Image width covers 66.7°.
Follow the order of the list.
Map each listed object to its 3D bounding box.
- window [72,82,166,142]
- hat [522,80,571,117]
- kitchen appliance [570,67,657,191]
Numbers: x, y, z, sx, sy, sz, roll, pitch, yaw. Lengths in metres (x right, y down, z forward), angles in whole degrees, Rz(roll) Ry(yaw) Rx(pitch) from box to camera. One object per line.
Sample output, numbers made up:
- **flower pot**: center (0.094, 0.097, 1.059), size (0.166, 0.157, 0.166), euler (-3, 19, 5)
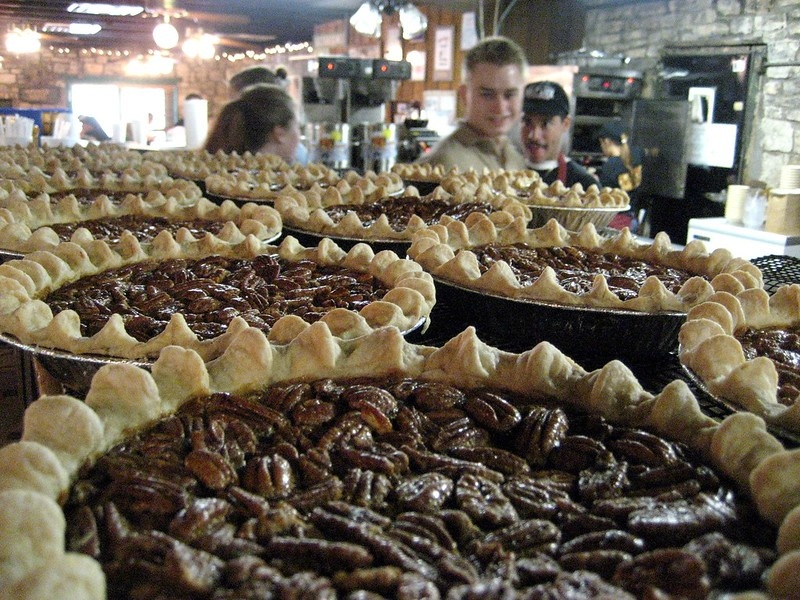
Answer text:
- **window**: center (-9.190, -5.866, 20.199), size (3.080, 0.917, 3.205), euler (9, 8, -24)
- **hat**: center (1.367, -1.837, 5.619), size (0.293, 0.215, 0.405), euler (18, 17, 30)
- **kitchen appliance**: center (2.827, -2.305, 8.476), size (0.946, 1.668, 0.902), euler (17, 10, 34)
